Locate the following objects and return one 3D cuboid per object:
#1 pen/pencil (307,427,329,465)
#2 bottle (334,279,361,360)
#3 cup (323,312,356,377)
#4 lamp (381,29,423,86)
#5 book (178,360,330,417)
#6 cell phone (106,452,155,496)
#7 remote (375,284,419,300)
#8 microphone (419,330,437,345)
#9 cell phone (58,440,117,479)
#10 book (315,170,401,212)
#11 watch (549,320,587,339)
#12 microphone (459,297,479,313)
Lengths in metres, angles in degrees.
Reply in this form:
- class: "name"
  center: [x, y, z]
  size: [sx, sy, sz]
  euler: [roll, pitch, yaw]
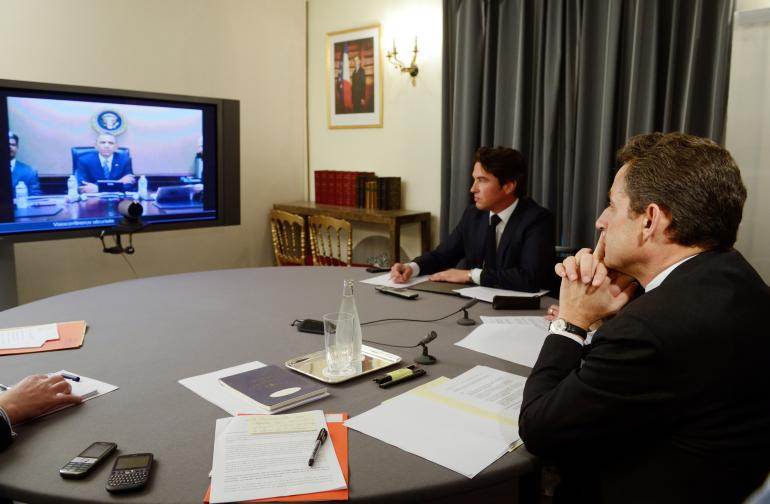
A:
- class: "pen/pencil"
  center: [-0.185, 0.533, 1.432]
  size: [0.021, 0.025, 0.105]
  euler: [-7, 24, 18]
- class: "bottle"
  center: [-0.133, 0.221, 1.864]
  size: [0.079, 0.217, 0.079]
  euler: [0, -3, 0]
- class: "cup"
  center: [-0.165, 0.314, 1.810]
  size: [0.101, 0.209, 0.103]
  euler: [8, 11, -2]
- class: "lamp"
  center: [0.131, -1.630, 4.462]
  size: [0.316, 0.384, 0.204]
  euler: [3, 13, 23]
- class: "book"
  center: [-0.436, 0.442, 1.705]
  size: [0.450, 0.055, 0.265]
  euler: [6, 14, 37]
- class: "cell phone"
  center: [-0.663, 0.571, 1.355]
  size: [0.115, 0.057, 0.132]
  euler: [1, 4, -15]
- class: "remote"
  center: [0.059, 0.203, 2.607]
  size: [0.192, 0.020, 0.108]
  euler: [11, 14, 37]
- class: "microphone"
  center: [0.171, 0.328, 1.933]
  size: [0.074, 0.034, 0.044]
  euler: [-23, 14, -8]
- class: "cell phone"
  center: [-0.795, 0.552, 1.388]
  size: [0.134, 0.056, 0.119]
  euler: [2, 7, -26]
- class: "book"
  center: [-0.161, -0.573, 4.914]
  size: [1.087, 0.359, 0.273]
  euler: [8, 11, 41]
- class: "watch"
  center: [0.568, 0.237, 1.640]
  size: [0.092, 0.057, 0.092]
  euler: [19, -6, -15]
- class: "microphone"
  center: [0.364, 0.233, 2.278]
  size: [0.073, 0.024, 0.053]
  euler: [-10, 11, 45]
